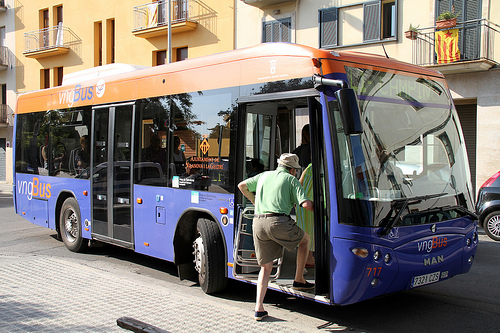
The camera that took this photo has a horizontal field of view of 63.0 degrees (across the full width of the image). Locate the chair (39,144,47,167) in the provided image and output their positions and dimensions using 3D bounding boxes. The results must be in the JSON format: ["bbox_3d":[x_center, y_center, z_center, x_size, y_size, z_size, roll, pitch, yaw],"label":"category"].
[{"bbox_3d":[-5.629,-0.290,11.240,0.163,0.500,0.329,-10,11,-21],"label":"chair"}]

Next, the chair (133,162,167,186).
[{"bbox_3d":[-2.062,0.149,8.491,0.524,0.360,0.537,-1,-4,42],"label":"chair"}]

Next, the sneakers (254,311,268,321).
[{"bbox_3d":[0.176,2.261,6.173,0.085,0.107,0.233,1,2,41],"label":"sneakers"}]

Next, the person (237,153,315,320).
[{"bbox_3d":[0.456,0.837,6.296,1.126,2.070,0.559,2,4,10],"label":"person"}]

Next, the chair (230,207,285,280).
[{"bbox_3d":[0.320,1.392,7.289,0.818,1.590,1.127,2,-3,-29],"label":"chair"}]

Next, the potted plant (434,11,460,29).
[{"bbox_3d":[7.777,-5.801,16.195,0.994,0.763,0.643,1,-1,39],"label":"potted plant"}]

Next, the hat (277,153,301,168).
[{"bbox_3d":[0.636,-0.083,6.370,0.279,0.115,0.201,11,2,-41],"label":"hat"}]

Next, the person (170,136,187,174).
[{"bbox_3d":[-1.389,-0.094,7.971,0.282,0.994,0.255,-6,-29,-5],"label":"person"}]
